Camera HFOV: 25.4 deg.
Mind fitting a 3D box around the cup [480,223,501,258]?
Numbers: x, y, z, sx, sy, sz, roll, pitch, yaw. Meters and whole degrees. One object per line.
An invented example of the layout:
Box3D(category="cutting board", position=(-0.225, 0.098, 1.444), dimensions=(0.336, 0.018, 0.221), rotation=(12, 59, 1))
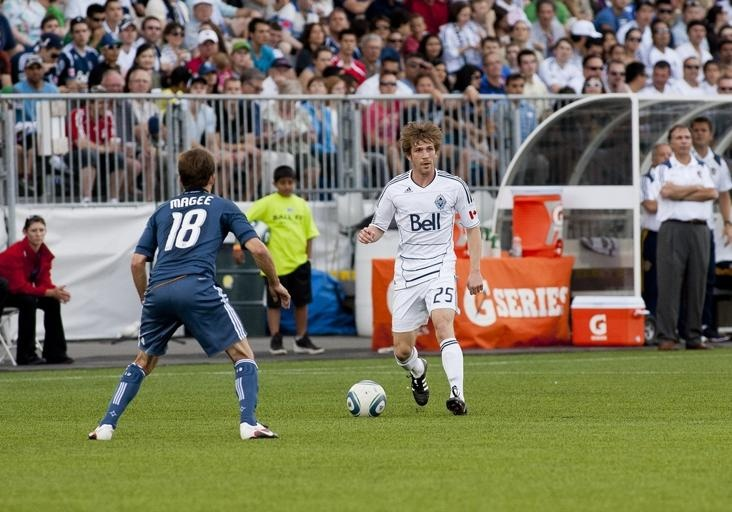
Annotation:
Box3D(category="cup", position=(1.711, -0.183, 22.804), dimensions=(0.384, 0.546, 0.403), rotation=(-1, 0, 0))

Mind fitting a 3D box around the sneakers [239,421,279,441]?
Box3D(category="sneakers", position=(-1.105, 1.804, 16.639), dimensions=(0.332, 0.133, 0.171), rotation=(1, 2, -6))

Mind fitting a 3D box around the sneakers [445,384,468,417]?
Box3D(category="sneakers", position=(0.961, 1.551, 17.346), dimensions=(0.136, 0.175, 0.409), rotation=(-2, -27, 9))

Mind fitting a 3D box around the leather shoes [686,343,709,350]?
Box3D(category="leather shoes", position=(4.381, 1.199, 21.429), dimensions=(0.298, 0.127, 0.103), rotation=(-1, 2, 5))

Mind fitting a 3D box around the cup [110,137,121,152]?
Box3D(category="cup", position=(-3.491, -1.573, 22.763), dimensions=(0.158, 0.176, 0.181), rotation=(5, 19, 0))

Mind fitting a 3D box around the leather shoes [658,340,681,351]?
Box3D(category="leather shoes", position=(3.979, 1.193, 21.518), dimensions=(0.142, 0.097, 0.241), rotation=(1, -7, -9))

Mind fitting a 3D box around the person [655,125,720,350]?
Box3D(category="person", position=(4.201, -0.057, 21.305), dimensions=(0.736, 2.586, 0.389), rotation=(-1, 3, 3))

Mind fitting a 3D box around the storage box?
Box3D(category="storage box", position=(3.145, 0.872, 22.051), dimensions=(1.128, 0.695, 0.857), rotation=(1, 1, -13))

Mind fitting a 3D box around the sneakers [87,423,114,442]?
Box3D(category="sneakers", position=(-2.730, 1.824, 16.732), dimensions=(0.219, 0.109, 0.164), rotation=(-2, 5, 5))

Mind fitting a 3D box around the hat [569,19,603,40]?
Box3D(category="hat", position=(3.761, -3.865, 27.593), dimensions=(0.505, 0.262, 0.360), rotation=(7, 15, -7))

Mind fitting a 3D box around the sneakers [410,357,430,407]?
Box3D(category="sneakers", position=(0.590, 1.400, 17.851), dimensions=(0.180, 0.546, 0.234), rotation=(-4, 10, 16))

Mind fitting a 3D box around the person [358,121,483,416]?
Box3D(category="person", position=(0.653, 0.131, 17.602), dimensions=(1.197, 3.164, 0.679), rotation=(-1, 3, 2))
